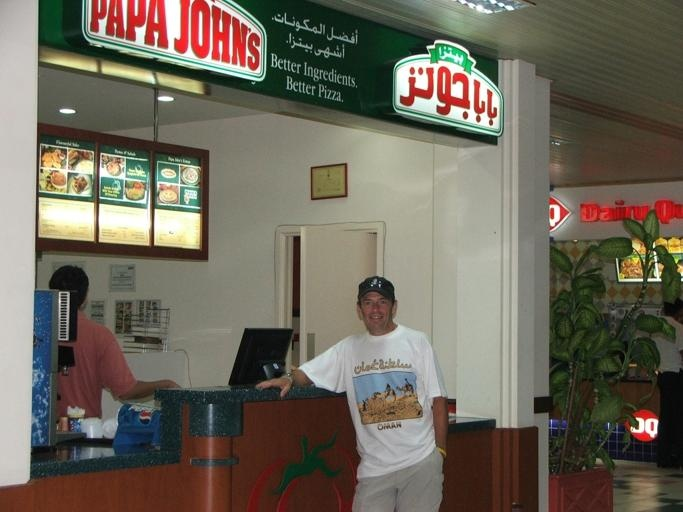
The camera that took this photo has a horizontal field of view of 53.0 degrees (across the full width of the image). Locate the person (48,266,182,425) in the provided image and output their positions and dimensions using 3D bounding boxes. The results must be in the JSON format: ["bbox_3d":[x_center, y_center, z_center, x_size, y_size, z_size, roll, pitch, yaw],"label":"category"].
[{"bbox_3d":[-1.563,0.552,4.463,0.598,0.998,0.692,3,-6,-40],"label":"person"}]

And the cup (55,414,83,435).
[{"bbox_3d":[-1.493,0.929,3.766,0.100,0.083,0.107,0,-8,0],"label":"cup"}]

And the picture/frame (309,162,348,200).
[{"bbox_3d":[-0.111,-0.745,6.840,0.361,0.296,0.032,0,0,38],"label":"picture/frame"}]

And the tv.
[{"bbox_3d":[-0.426,0.632,4.127,0.141,0.386,0.413,17,7,41],"label":"tv"}]
